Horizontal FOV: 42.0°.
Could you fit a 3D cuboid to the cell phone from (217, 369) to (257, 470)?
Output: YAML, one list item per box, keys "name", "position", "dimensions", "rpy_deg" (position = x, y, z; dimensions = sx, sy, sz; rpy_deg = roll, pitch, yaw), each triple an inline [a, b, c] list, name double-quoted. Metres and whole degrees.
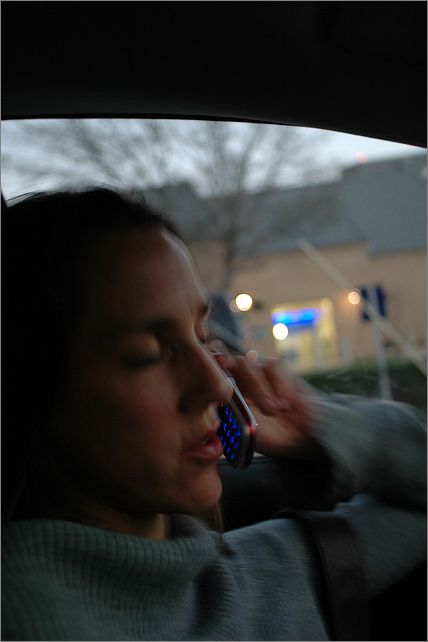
- name: "cell phone"
  position: [0.012, 0.143, 0.732]
  dimensions: [0.026, 0.055, 0.108]
  rpy_deg: [13, 33, -35]
